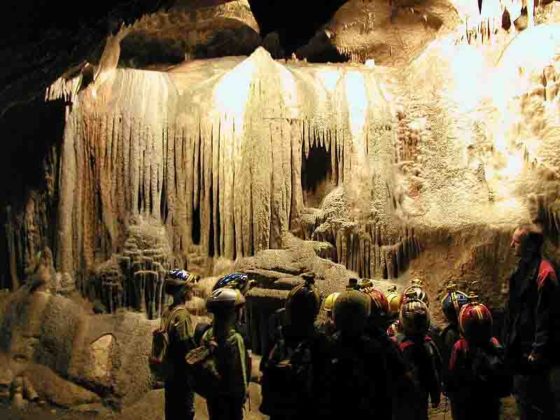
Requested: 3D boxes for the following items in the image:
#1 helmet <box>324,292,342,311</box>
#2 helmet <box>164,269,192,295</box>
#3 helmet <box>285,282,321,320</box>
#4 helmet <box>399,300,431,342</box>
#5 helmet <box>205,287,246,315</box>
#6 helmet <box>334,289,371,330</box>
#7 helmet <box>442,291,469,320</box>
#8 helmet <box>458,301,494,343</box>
[{"bbox_3d":[0.720,1.296,9.800,0.240,0.191,0.342,1,4,17],"label":"helmet"},{"bbox_3d":[-1.485,1.028,9.855,0.380,0.300,0.323,1,2,43],"label":"helmet"},{"bbox_3d":[0.290,1.169,8.706,0.368,0.406,0.426,-1,-13,18],"label":"helmet"},{"bbox_3d":[1.749,1.459,9.238,0.364,0.486,0.480,-1,36,1],"label":"helmet"},{"bbox_3d":[-0.736,1.187,8.969,0.405,0.325,0.309,-2,-22,-6],"label":"helmet"},{"bbox_3d":[0.936,1.308,8.863,0.409,0.421,0.477,-3,36,17],"label":"helmet"},{"bbox_3d":[2.469,1.375,9.881,0.369,0.440,0.394,6,-19,1],"label":"helmet"},{"bbox_3d":[2.585,1.480,9.100,0.392,0.489,0.515,-1,-21,4],"label":"helmet"}]
